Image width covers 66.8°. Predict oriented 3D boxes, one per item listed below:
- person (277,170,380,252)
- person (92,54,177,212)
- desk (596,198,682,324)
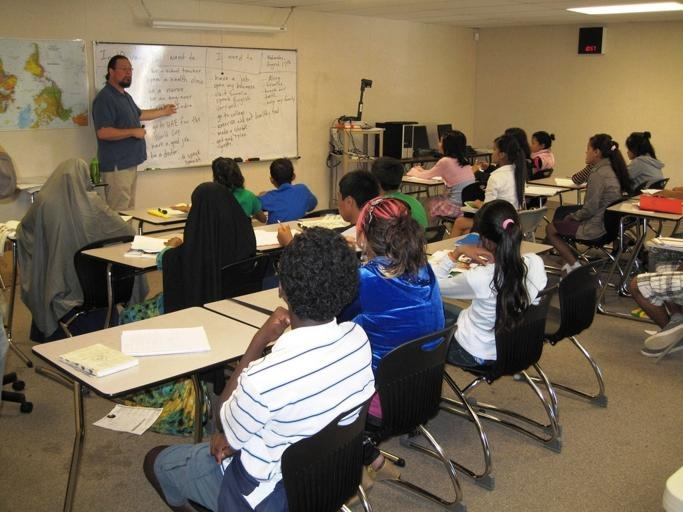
[{"bbox_3d":[-0.017,-0.388,3.570,0.308,0.783,0.418,9,10,38],"label":"person"},{"bbox_3d":[-2.480,-1.512,6.091,0.704,2.270,1.003,6,32,-9],"label":"person"},{"bbox_3d":[2.735,0.053,4.774,0.367,0.663,0.971,15,24,41],"label":"desk"}]
